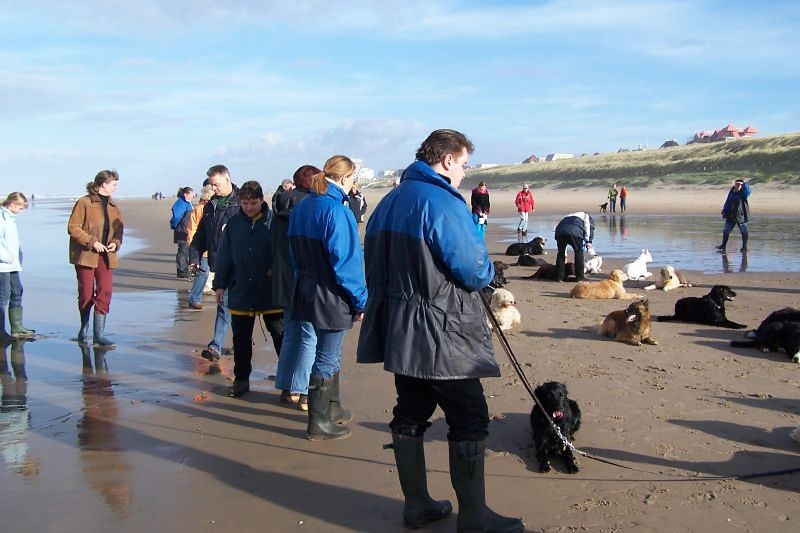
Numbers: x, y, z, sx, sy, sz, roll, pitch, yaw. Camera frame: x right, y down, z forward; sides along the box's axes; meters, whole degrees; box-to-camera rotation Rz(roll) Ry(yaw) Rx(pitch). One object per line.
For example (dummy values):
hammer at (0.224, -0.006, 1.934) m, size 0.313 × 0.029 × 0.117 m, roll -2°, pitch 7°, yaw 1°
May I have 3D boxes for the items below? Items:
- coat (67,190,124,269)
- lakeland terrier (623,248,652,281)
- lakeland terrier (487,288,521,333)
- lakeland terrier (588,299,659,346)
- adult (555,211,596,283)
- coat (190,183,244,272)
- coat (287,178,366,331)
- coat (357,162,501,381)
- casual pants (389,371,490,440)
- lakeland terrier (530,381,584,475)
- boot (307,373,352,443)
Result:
coat at (-4.946, -0.574, 10.847) m, size 0.814 × 1.191 × 0.556 m, roll -3°, pitch 7°, yaw -35°
lakeland terrier at (5.654, -0.015, 15.910) m, size 0.538 × 0.649 × 1.201 m, roll 6°, pitch 16°, yaw 39°
lakeland terrier at (1.890, 0.717, 11.735) m, size 0.698 × 0.650 × 0.504 m, roll -11°, pitch 5°, yaw -42°
lakeland terrier at (3.677, 0.885, 10.781) m, size 0.401 × 0.681 × 0.854 m, roll -4°, pitch 7°, yaw -38°
adult at (4.081, -0.446, 15.718) m, size 0.830 × 1.582 × 1.401 m, roll 2°, pitch 6°, yaw 15°
coat at (-2.824, -0.324, 10.617) m, size 0.981 × 1.608 × 0.524 m, roll -1°, pitch -3°, yaw 2°
coat at (-0.903, -0.152, 8.076) m, size 1.276 × 1.688 × 0.660 m, roll 6°, pitch 5°, yaw 43°
coat at (0.280, 0.034, 6.486) m, size 1.323 × 2.039 × 0.437 m, roll 1°, pitch 6°, yaw 7°
casual pants at (0.387, 1.381, 6.620) m, size 1.056 × 0.891 × 0.404 m, roll 3°, pitch 13°, yaw 20°
lakeland terrier at (1.761, 1.797, 7.616) m, size 0.548 × 0.918 × 0.595 m, roll 2°, pitch 6°, yaw 12°
boot at (-0.894, 1.736, 8.154) m, size 0.642 × 0.725 × 0.330 m, roll 8°, pitch -16°, yaw -34°
